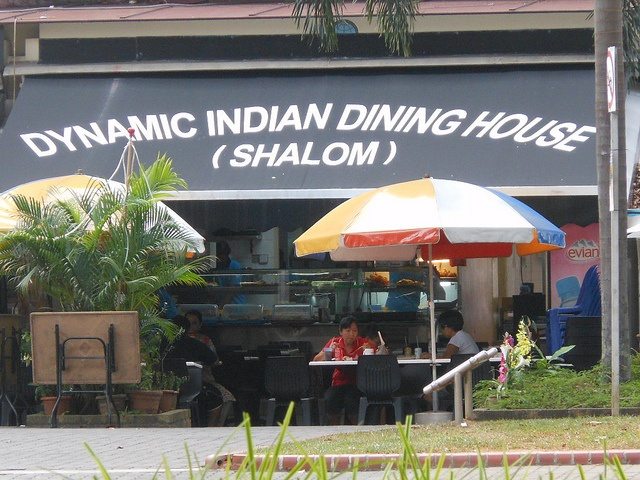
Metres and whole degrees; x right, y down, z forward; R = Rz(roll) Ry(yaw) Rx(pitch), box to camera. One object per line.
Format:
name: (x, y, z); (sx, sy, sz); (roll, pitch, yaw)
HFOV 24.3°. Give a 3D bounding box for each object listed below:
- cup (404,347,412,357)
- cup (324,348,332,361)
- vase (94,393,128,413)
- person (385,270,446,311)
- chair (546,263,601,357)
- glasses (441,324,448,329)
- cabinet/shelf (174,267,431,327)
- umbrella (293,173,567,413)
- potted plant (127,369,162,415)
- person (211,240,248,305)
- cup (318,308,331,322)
cup: (1.383, 1.886, 23.866); (0.144, 0.172, 0.147); (0, 2, 0)
cup: (0.137, 1.877, 23.373); (0.148, 0.181, 0.154); (1, 1, 0)
vase: (-3.138, 2.546, 22.407); (0.317, 0.208, 0.330); (0, -5, 0)
person: (1.620, 1.145, 28.229); (1.216, 0.857, 0.694); (1, -8, -33)
chair: (4.198, 1.206, 24.300); (1.218, 2.022, 1.131); (1, -5, 8)
glasses: (1.989, 1.465, 23.758); (0.066, 0.090, 0.079); (-3, 2, 16)
cabinet/shelf: (-0.291, 1.156, 27.368); (5.244, 0.843, 1.144); (-3, 4, 1)
umbrella: (1.669, 0.622, 23.756); (4.092, 2.780, 4.627); (-3, -7, -1)
potted plant: (-2.661, 2.407, 22.437); (0.504, 0.433, 0.543); (-6, -13, 35)
person: (-1.713, 0.733, 28.002); (0.598, 1.821, 0.746); (0, -15, -12)
cup: (0.083, 1.478, 27.450); (0.229, 0.278, 0.237); (-1, 0, 0)
